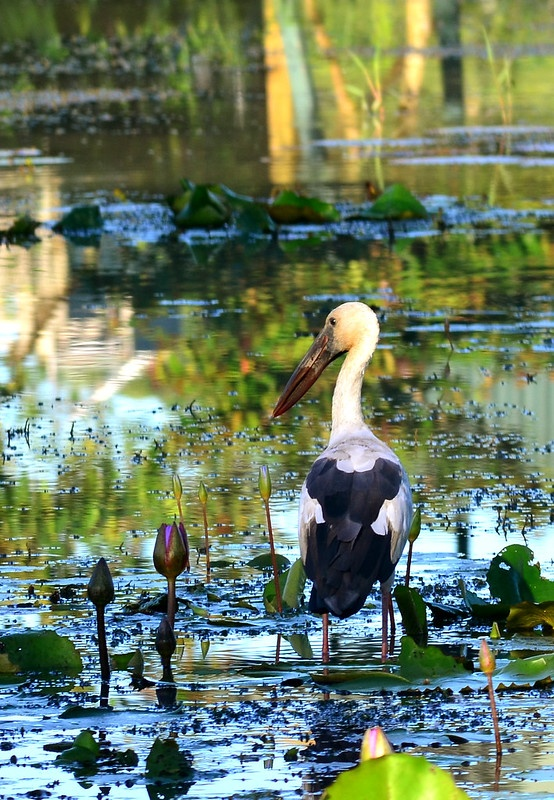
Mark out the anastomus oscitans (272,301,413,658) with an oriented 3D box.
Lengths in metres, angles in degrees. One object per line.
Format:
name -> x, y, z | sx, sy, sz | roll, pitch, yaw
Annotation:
anastomus oscitans -> 0.237, 0.341, 4.657 | 0.427, 1.431, 0.931 | -3, -6, 7
